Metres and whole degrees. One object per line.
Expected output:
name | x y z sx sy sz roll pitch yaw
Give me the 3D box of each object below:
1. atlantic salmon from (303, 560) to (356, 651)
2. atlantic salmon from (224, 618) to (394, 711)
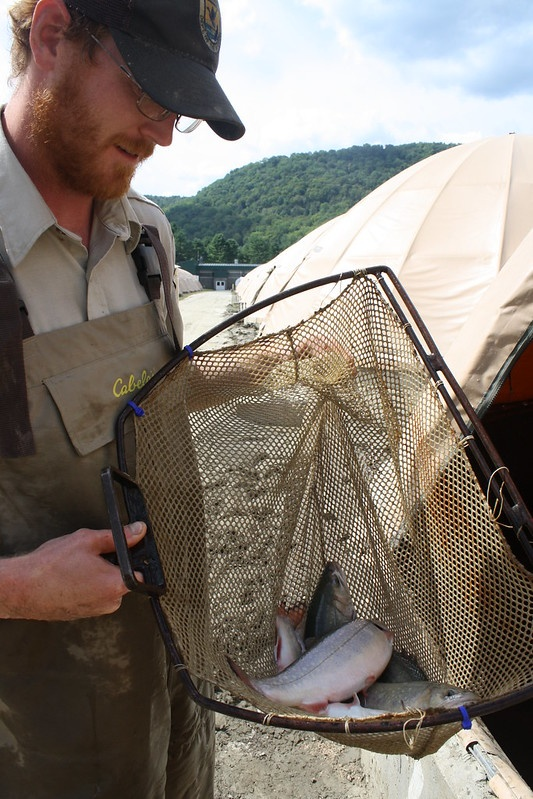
atlantic salmon | 0.163 0.617 2.035 0.163 0.300 0.290 3 17 1
atlantic salmon | 0.170 0.705 1.756 0.168 0.201 0.620 -20 -15 34
